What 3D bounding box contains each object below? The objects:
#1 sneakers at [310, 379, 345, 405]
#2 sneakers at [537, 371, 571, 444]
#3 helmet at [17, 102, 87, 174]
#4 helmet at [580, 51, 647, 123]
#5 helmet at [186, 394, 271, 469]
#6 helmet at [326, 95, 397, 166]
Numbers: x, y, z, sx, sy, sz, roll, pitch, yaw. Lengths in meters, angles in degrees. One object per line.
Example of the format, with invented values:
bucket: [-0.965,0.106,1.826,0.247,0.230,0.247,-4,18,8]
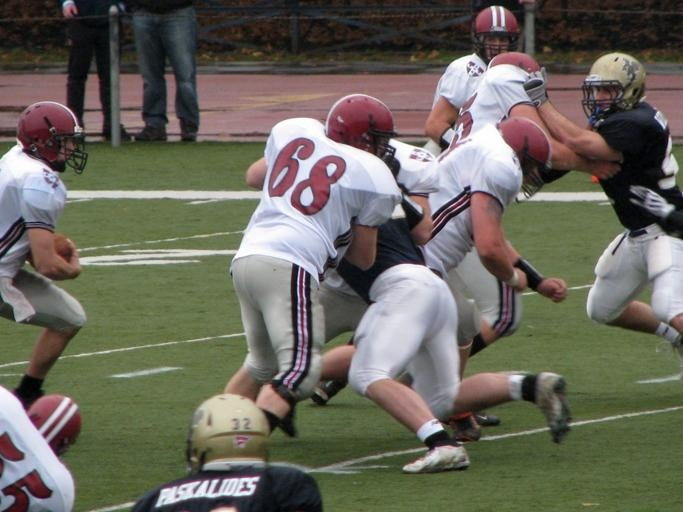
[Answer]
sneakers: [-0.063,0.750,7.977,0.085,0.106,0.261,48,31,7]
sneakers: [1.043,0.749,6.833,0.140,0.292,0.193,-11,7,8]
helmet: [-1.625,-0.666,7.763,0.421,0.349,0.289,2,3,-16]
helmet: [1.636,-1.040,8.395,0.435,0.356,0.331,-17,19,-39]
helmet: [-0.467,0.773,5.918,0.365,0.344,0.444,0,-7,-13]
helmet: [0.102,-0.653,7.247,0.425,0.355,0.313,-2,12,-21]
